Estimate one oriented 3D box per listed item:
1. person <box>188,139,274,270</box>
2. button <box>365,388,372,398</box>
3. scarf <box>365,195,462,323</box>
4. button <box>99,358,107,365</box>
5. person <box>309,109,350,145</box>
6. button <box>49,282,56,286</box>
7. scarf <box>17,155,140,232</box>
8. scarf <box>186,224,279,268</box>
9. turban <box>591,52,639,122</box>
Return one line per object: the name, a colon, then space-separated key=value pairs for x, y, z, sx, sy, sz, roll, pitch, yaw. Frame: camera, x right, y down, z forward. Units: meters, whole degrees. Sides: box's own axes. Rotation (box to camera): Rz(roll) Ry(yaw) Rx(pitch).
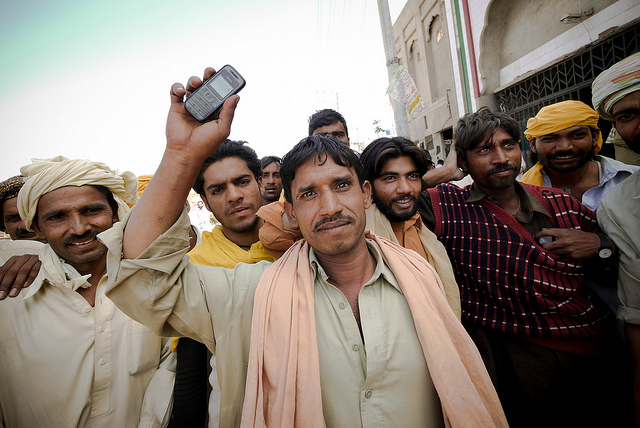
person: x=-0.922 y=-0.074 z=3.740 sx=1.054 sy=1.024 sz=0.650 roll=-16 pitch=-14 yaw=-19
button: x=0.376 y=1.390 z=2.850 sx=0.056 sy=0.055 sz=0.015 roll=7 pitch=-1 yaw=-32
scarf: x=0.923 y=0.387 z=3.804 sx=0.681 sy=1.556 sz=0.738 roll=0 pitch=0 yaw=-9
button: x=-1.982 y=1.327 z=3.307 sx=0.048 sy=0.048 sz=0.011 roll=4 pitch=-21 yaw=-17
person: x=0.088 y=-1.333 z=5.589 sx=0.584 sy=0.729 sz=0.753 roll=-3 pitch=-32 yaw=-4
button: x=-2.448 y=0.624 z=3.325 sx=0.042 sy=0.042 sz=0.087 roll=-2 pitch=-9 yaw=-42
scarf: x=-2.239 y=-0.164 z=3.304 sx=0.900 sy=0.588 sz=0.441 roll=-11 pitch=0 yaw=39
scarf: x=-1.012 y=0.381 z=3.818 sx=0.711 sy=0.274 sz=0.383 roll=3 pitch=1 yaw=-6
turban: x=3.063 y=-1.364 z=3.823 sx=0.579 sy=0.330 sz=0.645 roll=-29 pitch=4 yaw=39
